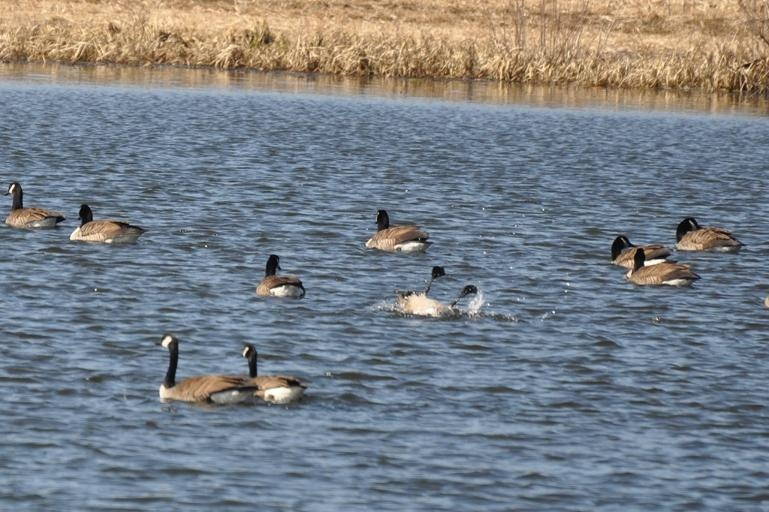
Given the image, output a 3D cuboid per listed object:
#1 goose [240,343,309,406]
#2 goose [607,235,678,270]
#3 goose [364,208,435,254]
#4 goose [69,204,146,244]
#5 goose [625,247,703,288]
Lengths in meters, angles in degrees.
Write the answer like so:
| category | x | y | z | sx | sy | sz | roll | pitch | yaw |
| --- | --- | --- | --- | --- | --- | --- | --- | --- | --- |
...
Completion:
| category | x | y | z | sx | sy | sz | roll | pitch | yaw |
| --- | --- | --- | --- | --- | --- | --- | --- | --- | --- |
| goose | -2.435 | 2.556 | 25.153 | 0.946 | 1.032 | 2.121 | -19 | 19 | -41 |
| goose | 7.772 | -0.110 | 34.044 | 2.034 | 0.959 | 1.006 | -9 | -3 | 40 |
| goose | 0.566 | -0.754 | 35.146 | 1.528 | 1.275 | 2.519 | -8 | 6 | -38 |
| goose | -8.349 | -0.852 | 34.567 | 3.100 | 1.480 | 1.478 | 2 | 11 | 36 |
| goose | 7.973 | 0.318 | 32.597 | 3.584 | 1.060 | 1.231 | -2 | -3 | 2 |
